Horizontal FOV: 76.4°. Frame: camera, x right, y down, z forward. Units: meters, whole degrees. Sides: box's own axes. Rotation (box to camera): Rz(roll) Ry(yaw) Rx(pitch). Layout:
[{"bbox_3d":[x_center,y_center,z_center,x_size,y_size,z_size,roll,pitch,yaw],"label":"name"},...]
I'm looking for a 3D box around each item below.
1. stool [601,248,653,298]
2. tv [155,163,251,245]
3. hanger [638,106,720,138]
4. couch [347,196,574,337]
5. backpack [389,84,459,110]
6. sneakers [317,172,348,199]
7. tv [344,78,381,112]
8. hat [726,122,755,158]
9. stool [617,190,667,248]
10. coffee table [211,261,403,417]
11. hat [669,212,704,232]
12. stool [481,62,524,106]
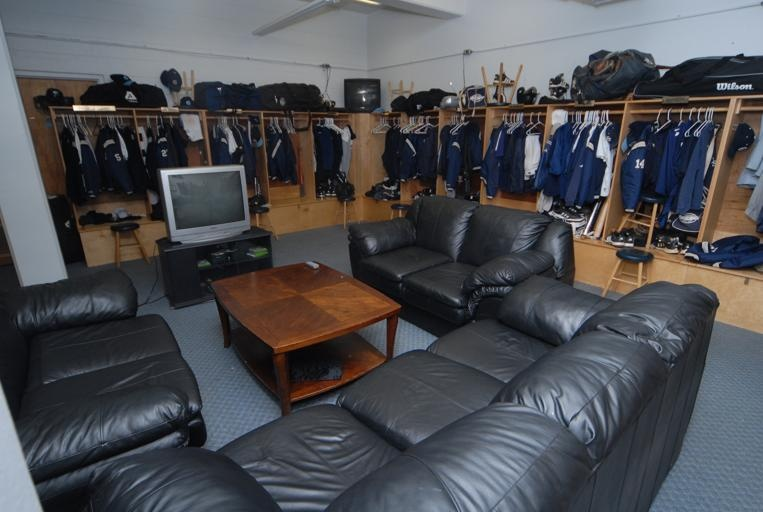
[{"bbox_3d":[2.434,0.195,4.837,0.367,0.382,0.358,9,3,-6],"label":"stool"},{"bbox_3d":[-1.921,-0.544,5.098,0.550,0.753,0.930,7,15,41],"label":"tv"},{"bbox_3d":[2.909,-1.275,4.743,0.341,0.157,0.503,-28,25,-36],"label":"hanger"},{"bbox_3d":[0.657,0.034,4.671,1.197,1.008,2.112,-15,21,-31],"label":"couch"},{"bbox_3d":[0.530,-2.213,6.832,0.615,0.182,0.483,-15,23,-32],"label":"backpack"},{"bbox_3d":[-0.798,-1.127,7.634,0.237,0.294,0.693,-6,17,-12],"label":"sneakers"},{"bbox_3d":[-0.217,-2.553,7.745,0.675,0.561,0.394,10,28,22],"label":"tv"},{"bbox_3d":[3.283,-1.056,4.442,0.201,0.324,0.087,9,22,17],"label":"hat"},{"bbox_3d":[2.728,-0.355,5.079,0.321,0.526,0.327,-9,22,-41],"label":"stool"},{"bbox_3d":[-0.648,0.585,3.998,1.174,0.607,1.433,-13,24,-32],"label":"coffee table"},{"bbox_3d":[2.972,-0.325,4.733,0.126,0.226,0.259,-11,21,-24],"label":"hat"},{"bbox_3d":[1.544,-2.202,6.240,0.565,0.502,0.551,5,26,27],"label":"stool"}]
